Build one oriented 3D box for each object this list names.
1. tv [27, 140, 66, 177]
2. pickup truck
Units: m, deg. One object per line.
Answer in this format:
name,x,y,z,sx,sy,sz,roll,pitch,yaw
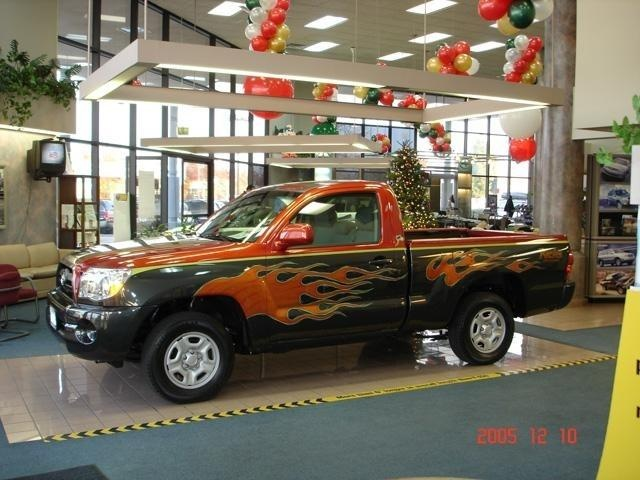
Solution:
tv,-6.323,-1.852,10.660,0.946,0.887,0.435,2,3,20
pickup truck,0.081,0.449,5.315,5.504,2.272,1.123,-1,3,-23
